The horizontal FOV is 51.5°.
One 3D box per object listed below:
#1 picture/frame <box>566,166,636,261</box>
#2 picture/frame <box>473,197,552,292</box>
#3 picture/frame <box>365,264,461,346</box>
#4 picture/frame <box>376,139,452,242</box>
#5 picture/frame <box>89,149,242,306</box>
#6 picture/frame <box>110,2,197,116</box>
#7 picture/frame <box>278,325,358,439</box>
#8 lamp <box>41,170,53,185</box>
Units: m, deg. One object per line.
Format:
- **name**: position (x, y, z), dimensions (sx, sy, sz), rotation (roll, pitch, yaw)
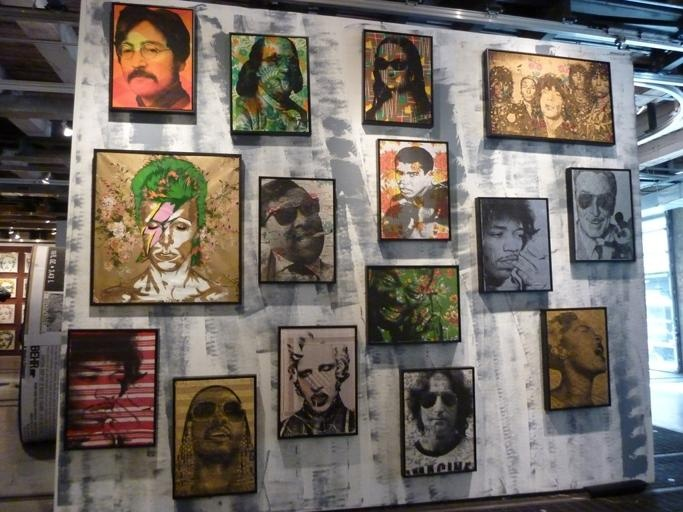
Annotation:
- **picture/frame**: position (2.516, -0.388, 6.915), dimensions (0.919, 1.252, 0.132), rotation (0, -8, -11)
- **picture/frame**: position (1.604, -0.085, 6.739), dimensions (0.895, 1.127, 0.115), rotation (-1, -4, -4)
- **picture/frame**: position (0.626, 0.465, 6.570), dimensions (0.764, 0.589, 0.033), rotation (0, -5, -7)
- **picture/frame**: position (0.648, -0.590, 6.623), dimensions (0.967, 1.266, 0.099), rotation (0, -3, -6)
- **picture/frame**: position (-1.654, -0.225, 6.340), dimensions (1.415, 1.477, 0.059), rotation (0, 1, -5)
- **picture/frame**: position (-1.750, -1.749, 6.386), dimensions (1.031, 1.258, 0.088), rotation (0, -2, -10)
- **picture/frame**: position (-0.252, 1.166, 6.426), dimensions (1.036, 1.353, 0.051), rotation (0, -5, -10)
- **lamp**: position (-4.529, -1.190, 10.761), dimensions (0.140, 0.177, 0.357), rotation (0, -7, -22)
